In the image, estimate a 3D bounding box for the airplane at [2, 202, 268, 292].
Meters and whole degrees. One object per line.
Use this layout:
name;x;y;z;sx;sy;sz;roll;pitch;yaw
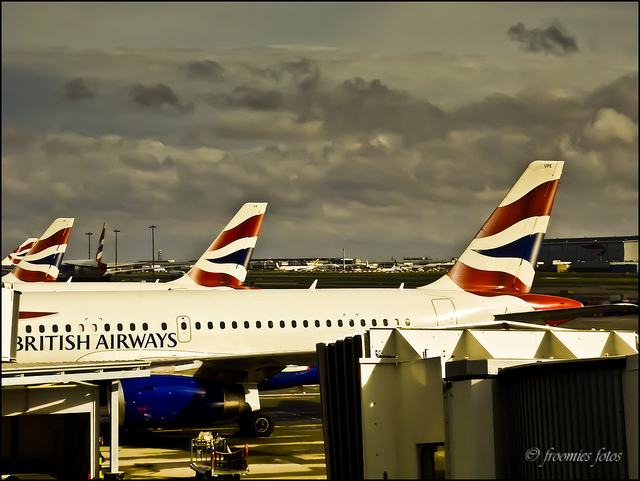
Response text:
airplane;-6.745;0.917;51.070;7.916;2.616;6.512;0;0;-6

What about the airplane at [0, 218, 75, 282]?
airplane;-15.537;0.896;66.304;4.479;2.269;3.643;-15;12;-8

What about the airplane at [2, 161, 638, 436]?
airplane;-2.444;1.075;41.382;16.611;6.744;24.368;5;5;-37
